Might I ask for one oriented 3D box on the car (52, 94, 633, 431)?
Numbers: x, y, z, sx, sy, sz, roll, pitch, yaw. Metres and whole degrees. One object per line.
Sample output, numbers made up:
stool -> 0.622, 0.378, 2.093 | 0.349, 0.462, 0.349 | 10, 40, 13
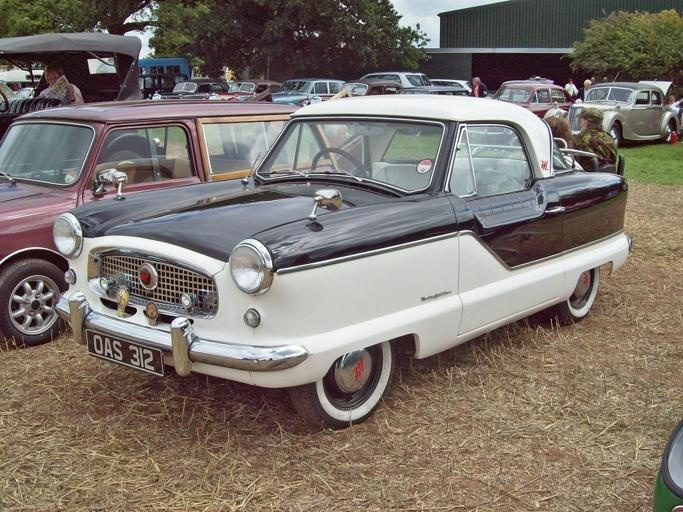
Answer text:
car -> 0.412, -0.193, 4.070 | 3.909, 1.473, 2.132 | -10, 13, -40

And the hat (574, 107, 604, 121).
hat -> 3.858, -2.151, 8.109 | 0.449, 0.234, 0.521 | 1, 9, 26

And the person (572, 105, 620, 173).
person -> 3.847, -1.794, 8.100 | 0.761, 0.974, 0.683 | -22, 24, -23
